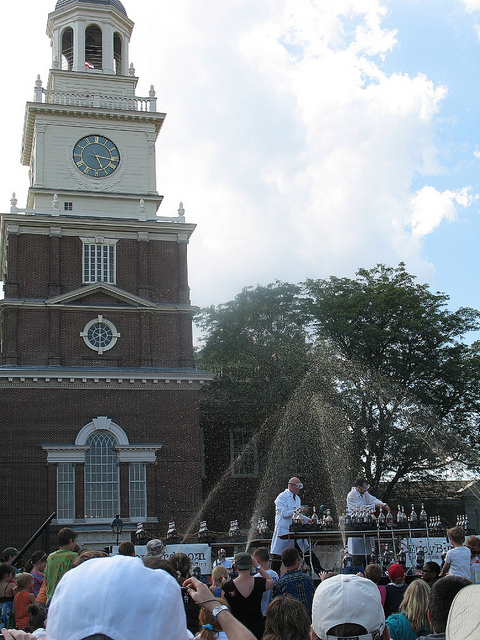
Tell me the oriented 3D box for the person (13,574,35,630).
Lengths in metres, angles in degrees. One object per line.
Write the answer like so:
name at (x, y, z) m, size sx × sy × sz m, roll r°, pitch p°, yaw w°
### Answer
person at (-2.263, 2.967, 10.823) m, size 0.219 × 0.548 × 0.980 m, roll 0°, pitch -13°, yaw -11°

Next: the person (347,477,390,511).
person at (2.318, 3.280, 19.446) m, size 0.635 × 0.598 × 1.154 m, roll -3°, pitch -13°, yaw 5°

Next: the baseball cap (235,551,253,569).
baseball cap at (0.033, 2.437, 10.372) m, size 0.173 × 0.158 × 0.305 m, roll -2°, pitch -13°, yaw -2°

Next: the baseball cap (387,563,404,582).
baseball cap at (1.662, 2.713, 11.028) m, size 0.153 × 0.122 × 0.235 m, roll -3°, pitch 15°, yaw 4°

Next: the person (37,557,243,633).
person at (-0.420, 1.212, 4.527) m, size 0.542 × 0.283 × 0.794 m, roll 0°, pitch -16°, yaw 9°

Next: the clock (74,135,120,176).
clock at (-5.014, -5.761, 35.657) m, size 1.538 × 1.530 × 0.118 m, roll -5°, pitch -16°, yaw -36°
